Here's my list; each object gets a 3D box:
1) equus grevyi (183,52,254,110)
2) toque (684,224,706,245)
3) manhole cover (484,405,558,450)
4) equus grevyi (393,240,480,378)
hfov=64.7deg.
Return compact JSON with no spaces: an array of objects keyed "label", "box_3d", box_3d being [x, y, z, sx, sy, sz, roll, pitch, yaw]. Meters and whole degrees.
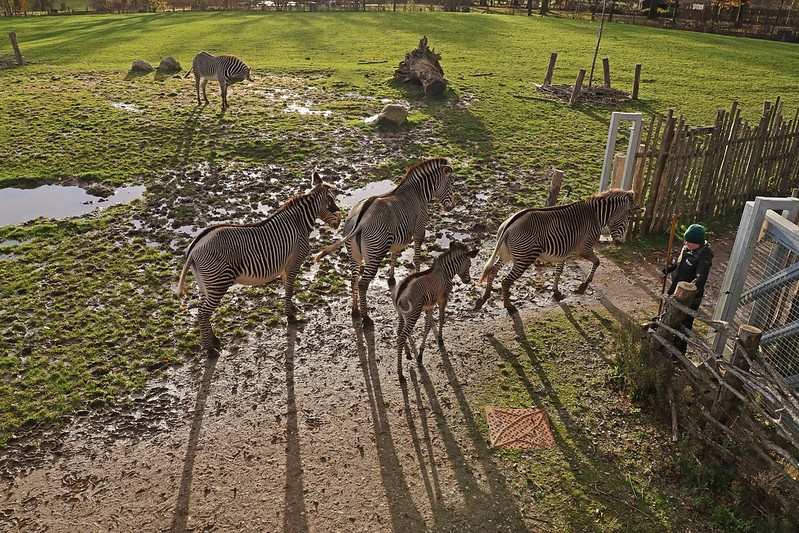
[{"label":"equus grevyi","box_3d":[-6.465,-6.710,22.653,2.780,1.981,0.646,19,30,16]},{"label":"toque","box_3d":[5.621,-0.637,11.918,0.384,0.304,0.394,27,35,27]},{"label":"manhole cover","box_3d":[2.154,2.904,11.253,1.145,0.260,0.734,2,30,-1]},{"label":"equus grevyi","box_3d":[0.487,0.784,12.120,0.651,2.215,1.904,26,37,36]}]
